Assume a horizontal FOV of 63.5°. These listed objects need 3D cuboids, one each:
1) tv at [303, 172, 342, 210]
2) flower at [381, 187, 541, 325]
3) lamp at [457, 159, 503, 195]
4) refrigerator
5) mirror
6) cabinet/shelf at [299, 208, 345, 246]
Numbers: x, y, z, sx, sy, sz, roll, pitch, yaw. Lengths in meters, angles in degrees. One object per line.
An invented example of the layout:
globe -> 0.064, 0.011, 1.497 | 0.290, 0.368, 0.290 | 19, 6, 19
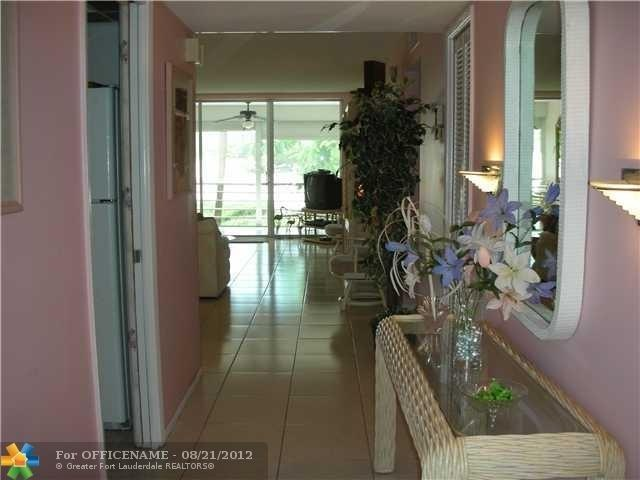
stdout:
tv -> 0.035, -0.894, 9.432 | 0.603, 0.640, 0.680 | -2, 8, -8
flower -> 0.516, 0.080, 1.962 | 0.476, 0.516, 0.571 | -8, 6, 5
lamp -> 0.777, -0.287, 2.482 | 0.238, 0.180, 0.206 | 3, 6, 29
refrigerator -> -1.140, 0.134, 2.785 | 0.179, 1.857, 0.172 | -2, 9, -11
mirror -> 0.788, -0.194, 1.685 | 0.174, 1.089, 0.244 | 4, 10, 27
cabinet/shelf -> 0.134, -0.268, 9.751 | 0.456, 0.567, 0.801 | 6, 2, -31
